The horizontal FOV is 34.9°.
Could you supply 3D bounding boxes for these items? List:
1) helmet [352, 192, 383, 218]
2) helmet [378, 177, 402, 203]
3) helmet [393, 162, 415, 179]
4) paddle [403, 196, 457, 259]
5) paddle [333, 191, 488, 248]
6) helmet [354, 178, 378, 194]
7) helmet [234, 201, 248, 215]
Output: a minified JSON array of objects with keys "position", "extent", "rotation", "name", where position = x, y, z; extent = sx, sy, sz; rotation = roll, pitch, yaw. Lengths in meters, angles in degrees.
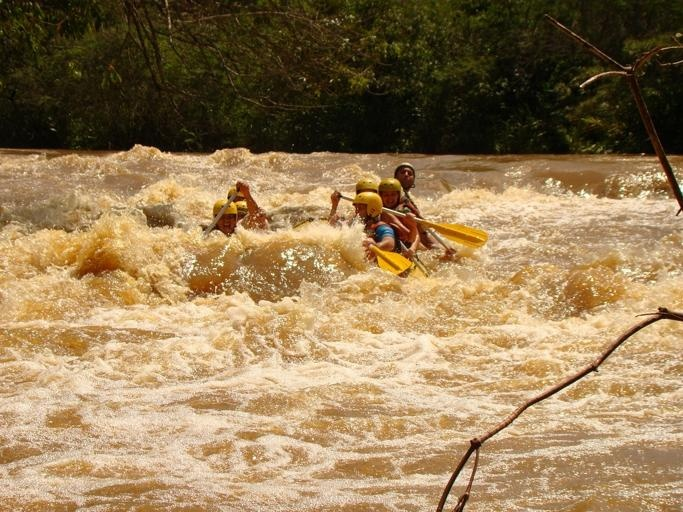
[{"position":[0.360,-0.701,14.875],"extent":[0.417,0.289,0.309],"rotation":[4,5,-10],"name":"helmet"},{"position":[0.688,-0.954,15.536],"extent":[0.262,0.295,0.270],"rotation":[3,37,5],"name":"helmet"},{"position":[0.929,-1.372,16.577],"extent":[0.348,0.239,0.334],"rotation":[7,-7,14],"name":"helmet"},{"position":[1.242,-0.369,15.509],"extent":[0.181,1.277,0.103],"rotation":[-45,13,-2],"name":"paddle"},{"position":[0.943,-0.485,15.343],"extent":[1.908,0.254,0.193],"rotation":[23,-5,6],"name":"paddle"},{"position":[0.350,-1.018,15.781],"extent":[0.233,0.222,0.290],"rotation":[4,25,4],"name":"helmet"},{"position":[-1.474,-0.729,15.921],"extent":[0.225,0.184,0.166],"rotation":[-12,31,9],"name":"helmet"}]
